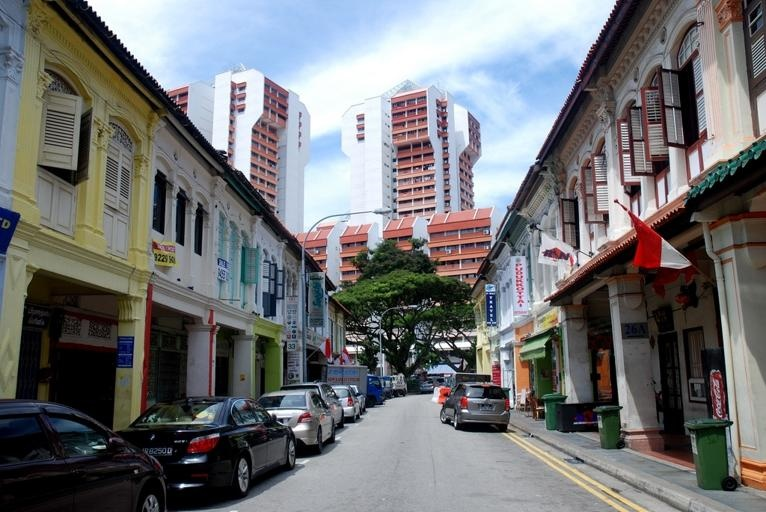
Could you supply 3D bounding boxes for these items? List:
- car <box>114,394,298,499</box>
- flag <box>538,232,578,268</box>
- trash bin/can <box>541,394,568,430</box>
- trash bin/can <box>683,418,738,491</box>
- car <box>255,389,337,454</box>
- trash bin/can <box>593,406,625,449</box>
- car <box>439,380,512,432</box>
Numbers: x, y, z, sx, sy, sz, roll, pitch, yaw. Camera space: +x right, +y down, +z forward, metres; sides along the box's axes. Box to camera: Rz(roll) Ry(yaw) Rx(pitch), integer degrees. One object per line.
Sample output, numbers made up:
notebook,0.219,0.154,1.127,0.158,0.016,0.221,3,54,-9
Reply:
car,-3.430,3.978,13.452,2.659,1.668,6.307,-1,-7,3
flag,6.603,-0.272,23.564,1.344,1.162,0.171,2,-11,11
trash bin/can,6.005,5.665,22.733,1.014,1.666,1.080,-6,-15,24
trash bin/can,6.663,4.038,12.715,0.749,1.365,0.500,-12,-20,25
car,-2.278,4.720,17.998,1.645,1.529,3.860,-1,-9,4
trash bin/can,6.405,4.849,17.700,0.701,1.157,0.513,-7,-19,12
car,3.528,6.036,24.770,1.861,2.046,2.834,4,-21,-19
